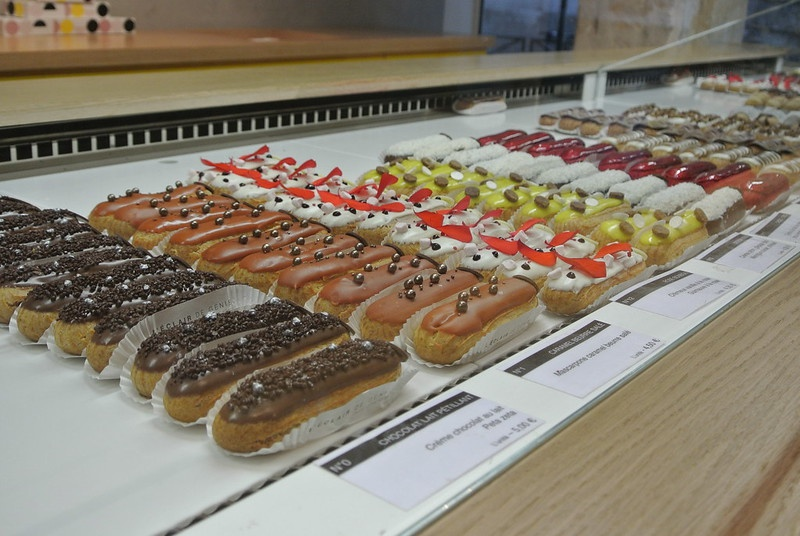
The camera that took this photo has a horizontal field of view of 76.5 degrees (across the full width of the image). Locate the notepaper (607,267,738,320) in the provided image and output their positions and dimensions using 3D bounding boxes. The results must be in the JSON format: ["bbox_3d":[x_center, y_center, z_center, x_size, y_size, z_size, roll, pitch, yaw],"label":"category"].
[{"bbox_3d":[0.713,0.070,1.314,0.216,0.019,0.277,-26,12,3],"label":"notepaper"}]

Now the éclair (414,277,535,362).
[{"bbox_3d":[0.182,0.104,1.207,0.160,0.107,0.398,30,36,34],"label":"éclair"}]

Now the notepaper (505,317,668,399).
[{"bbox_3d":[0.384,0.181,1.062,0.299,0.002,0.163,-22,37,-34],"label":"notepaper"}]
